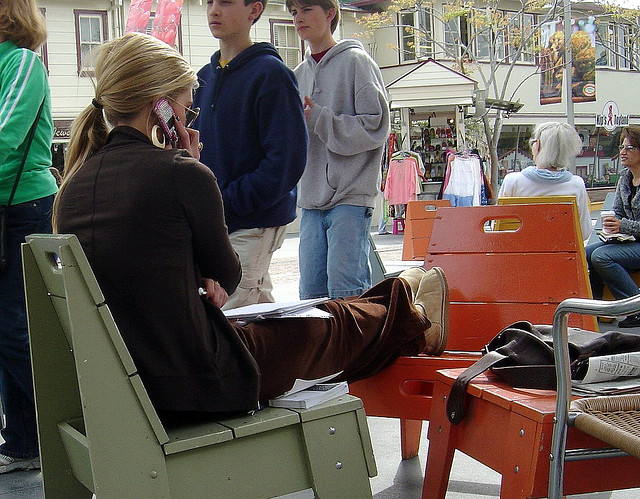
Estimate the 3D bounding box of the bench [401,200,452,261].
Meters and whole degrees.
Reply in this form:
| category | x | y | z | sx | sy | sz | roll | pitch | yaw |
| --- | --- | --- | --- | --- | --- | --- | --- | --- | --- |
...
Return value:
| category | x | y | z | sx | sy | sz | roll | pitch | yaw |
| --- | --- | --- | --- | --- | --- | --- | --- | --- | --- |
| bench | 1.772 | -0.355 | 10.204 | 0.842 | 0.897 | 0.455 | -4 | 4 | -32 |

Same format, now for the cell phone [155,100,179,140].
| category | x | y | z | sx | sy | sz | roll | pitch | yaw |
| --- | --- | --- | --- | --- | --- | --- | --- | --- | --- |
| cell phone | -0.539 | -0.470 | 2.267 | 0.016 | 0.112 | 0.059 | 3 | 36 | 24 |

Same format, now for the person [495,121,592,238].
| category | x | y | z | sx | sy | sz | roll | pitch | yaw |
| --- | --- | --- | --- | --- | --- | --- | --- | --- | --- |
| person | 2.229 | -0.547 | 6.227 | 0.891 | 1.399 | 0.808 | 11 | 15 | 41 |

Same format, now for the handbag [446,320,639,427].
| category | x | y | z | sx | sy | sz | roll | pitch | yaw |
| --- | --- | --- | --- | --- | --- | --- | --- | --- | --- |
| handbag | 0.857 | 0.427 | 2.529 | 0.518 | 0.225 | 0.476 | -6 | 3 | -23 |

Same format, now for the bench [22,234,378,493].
| category | x | y | z | sx | sy | sz | roll | pitch | yaw |
| --- | --- | --- | --- | --- | --- | --- | --- | --- | --- |
| bench | -0.527 | 0.302 | 2.483 | 0.984 | 1.017 | 1.024 | -4 | 3 | -24 |

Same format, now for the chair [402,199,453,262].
| category | x | y | z | sx | sy | sz | roll | pitch | yaw |
| --- | --- | --- | --- | --- | --- | --- | --- | --- | --- |
| chair | 1.619 | -0.384 | 10.344 | 0.517 | 1.003 | 0.962 | 29 | 21 | 37 |

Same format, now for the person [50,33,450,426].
| category | x | y | z | sx | sy | sz | roll | pitch | yaw |
| --- | --- | --- | --- | --- | --- | --- | --- | --- | --- |
| person | -0.201 | -0.062 | 2.727 | 1.701 | 1.363 | 0.710 | -3 | -2 | -45 |

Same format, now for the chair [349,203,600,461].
| category | x | y | z | sx | sy | sz | roll | pitch | yaw |
| --- | --- | --- | --- | --- | --- | --- | --- | --- | --- |
| chair | 0.690 | 0.245 | 3.573 | 1.281 | 1.407 | 1.355 | 0 | 3 | 41 |
